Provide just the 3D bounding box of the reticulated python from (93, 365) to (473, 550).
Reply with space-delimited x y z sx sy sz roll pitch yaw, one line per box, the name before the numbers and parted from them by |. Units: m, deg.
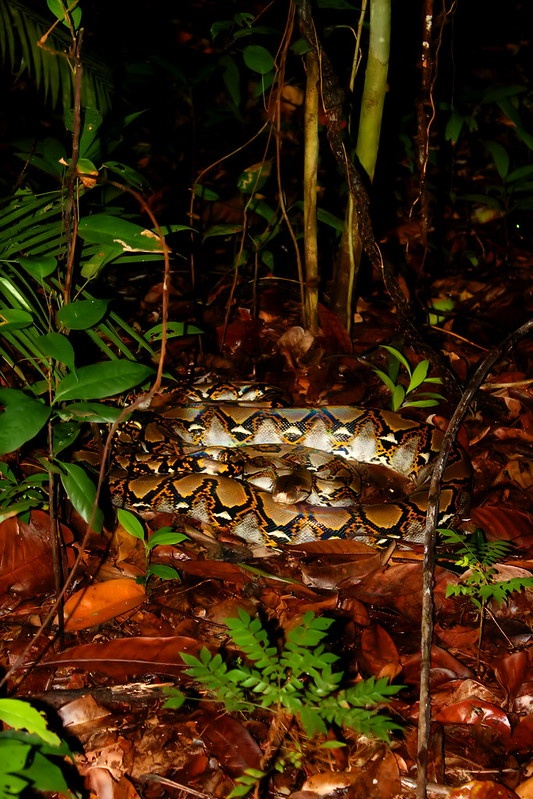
reticulated python | 0.020 0.489 4.877 2.278 0.565 1.616 20 36 25
